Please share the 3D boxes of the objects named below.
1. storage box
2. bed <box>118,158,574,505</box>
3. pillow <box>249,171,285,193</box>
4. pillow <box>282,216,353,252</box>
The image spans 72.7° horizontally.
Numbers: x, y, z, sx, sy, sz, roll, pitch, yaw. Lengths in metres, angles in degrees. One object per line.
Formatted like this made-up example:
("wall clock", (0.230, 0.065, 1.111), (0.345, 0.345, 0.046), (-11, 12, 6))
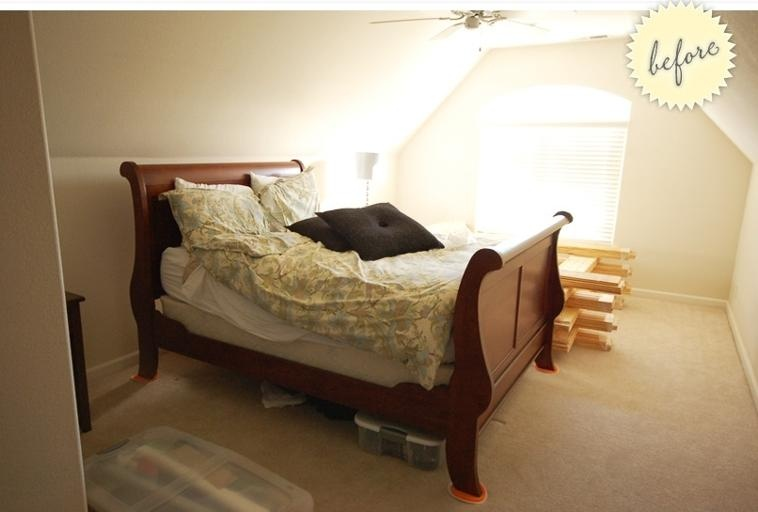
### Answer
("storage box", (0.096, 0.958, 2.668), (0.367, 0.132, 0.270), (6, 9, 27))
("bed", (-0.161, 0.095, 3.262), (2.413, 1.476, 1.832), (7, 16, 29))
("pillow", (-0.841, -0.542, 3.781), (0.201, 0.127, 0.062), (-23, -4, -44))
("pillow", (-0.373, -0.144, 3.296), (0.275, 0.089, 0.303), (39, 25, 29))
